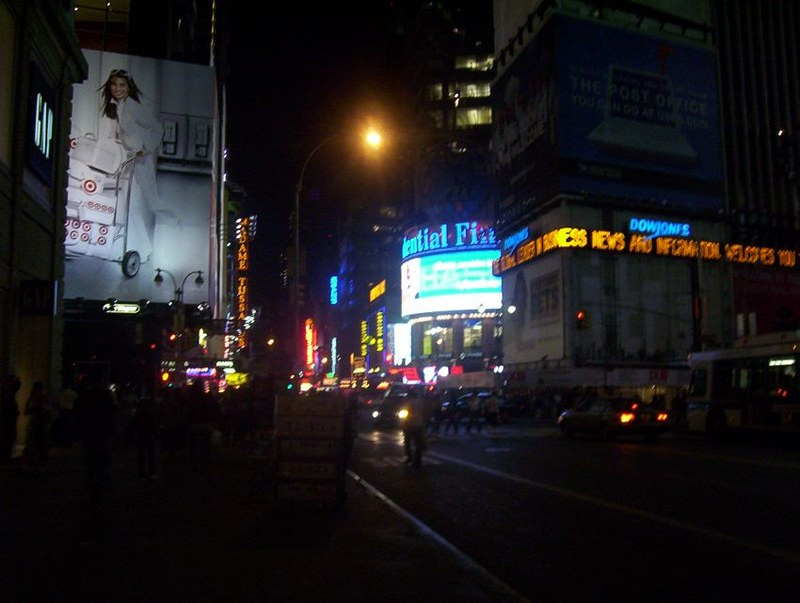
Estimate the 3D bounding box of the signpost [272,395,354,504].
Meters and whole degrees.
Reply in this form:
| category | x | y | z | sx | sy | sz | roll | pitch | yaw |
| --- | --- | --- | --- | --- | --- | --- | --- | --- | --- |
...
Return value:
| category | x | y | z | sx | sy | sz | roll | pitch | yaw |
| --- | --- | --- | --- | --- | --- | --- | --- | --- | --- |
| signpost | -1.793 | 2.862 | 14.990 | 1.320 | 2.044 | 0.319 | 2 | -6 | 4 |

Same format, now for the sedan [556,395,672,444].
| category | x | y | z | sx | sy | sz | roll | pitch | yaw |
| --- | --- | --- | --- | --- | --- | --- | --- | --- | --- |
| sedan | 8.163 | 4.714 | 31.335 | 1.752 | 1.290 | 3.933 | 3 | -6 | -24 |
